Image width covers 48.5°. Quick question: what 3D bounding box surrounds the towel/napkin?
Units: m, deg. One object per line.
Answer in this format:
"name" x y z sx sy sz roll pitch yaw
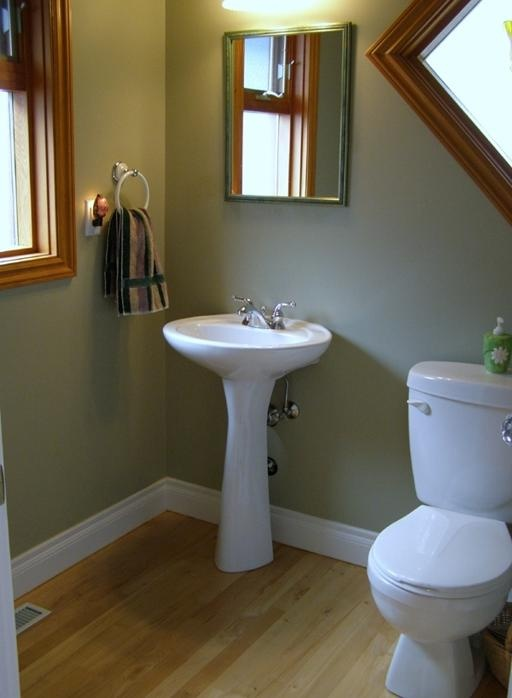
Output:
"towel/napkin" -0.437 -0.322 2.021 0.151 0.375 0.222 6 8 36

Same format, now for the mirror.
"mirror" 0.122 -0.805 1.892 0.482 0.694 0.043 13 22 35

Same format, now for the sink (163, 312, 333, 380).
"sink" -0.031 0.007 1.884 0.545 0.209 0.534 2 7 8
